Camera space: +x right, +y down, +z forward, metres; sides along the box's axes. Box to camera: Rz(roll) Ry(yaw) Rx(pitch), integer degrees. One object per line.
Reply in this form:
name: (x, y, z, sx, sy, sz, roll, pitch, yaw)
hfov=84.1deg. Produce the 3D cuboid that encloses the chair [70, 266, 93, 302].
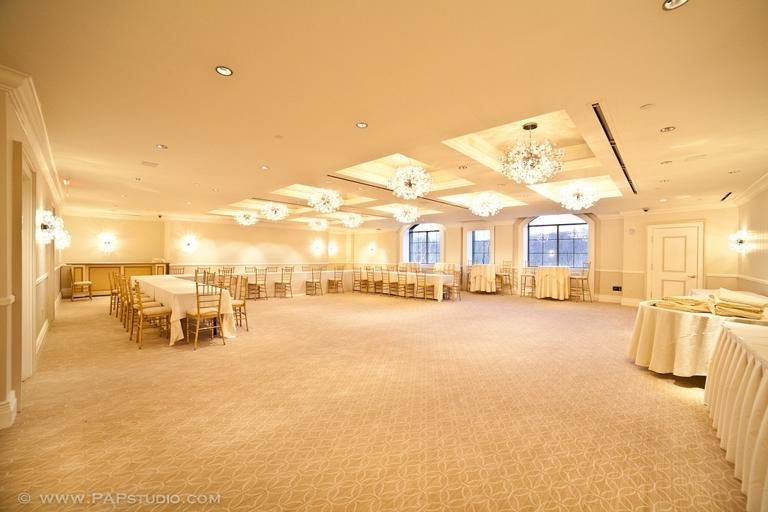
chair: (-8.348, 0.714, 11.667, 0.477, 0.938, 0.852, -3, 5, -35)
